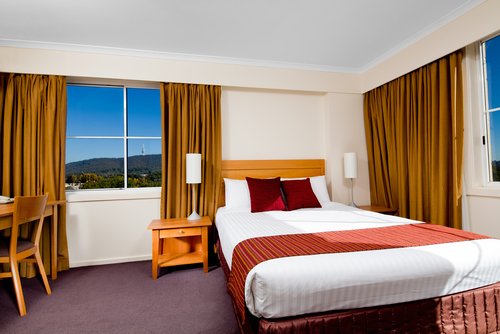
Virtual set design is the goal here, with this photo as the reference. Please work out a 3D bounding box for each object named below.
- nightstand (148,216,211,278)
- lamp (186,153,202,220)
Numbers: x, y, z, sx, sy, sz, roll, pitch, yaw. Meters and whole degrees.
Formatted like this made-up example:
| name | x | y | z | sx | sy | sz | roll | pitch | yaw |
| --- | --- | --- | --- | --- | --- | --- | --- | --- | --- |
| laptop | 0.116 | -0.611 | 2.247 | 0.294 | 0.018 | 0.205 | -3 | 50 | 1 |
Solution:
| name | x | y | z | sx | sy | sz | roll | pitch | yaw |
| --- | --- | --- | --- | --- | --- | --- | --- | --- | --- |
| nightstand | -1.051 | 1.097 | 5.442 | 1.079 | 0.947 | 0.728 | 1 | -4 | -17 |
| lamp | -0.852 | 0.280 | 5.545 | 0.246 | 1.007 | 0.381 | -3 | 0 | -7 |
